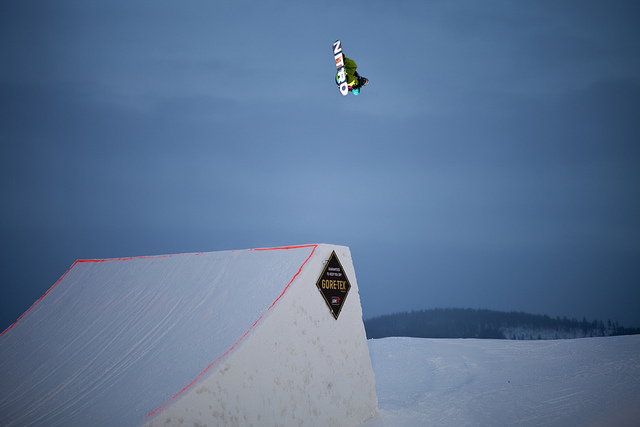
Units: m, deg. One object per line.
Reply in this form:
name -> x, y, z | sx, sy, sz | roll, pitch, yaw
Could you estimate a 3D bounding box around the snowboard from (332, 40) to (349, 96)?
snowboard -> 0.400, -2.846, 11.637 | 0.227, 0.155, 1.110 | -3, -66, 12
